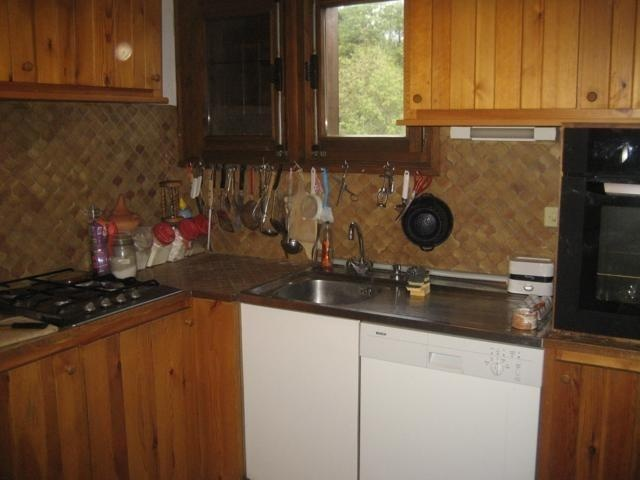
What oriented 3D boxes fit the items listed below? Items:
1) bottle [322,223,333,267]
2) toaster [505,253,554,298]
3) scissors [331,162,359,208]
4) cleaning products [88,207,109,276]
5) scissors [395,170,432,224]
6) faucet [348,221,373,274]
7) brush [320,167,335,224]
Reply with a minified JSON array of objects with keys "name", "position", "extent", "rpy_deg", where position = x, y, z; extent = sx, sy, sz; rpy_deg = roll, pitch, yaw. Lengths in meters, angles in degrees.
[{"name":"bottle","position":[0.039,0.010,3.146],"extent":[0.067,0.277,0.067],"rpy_deg":[1,-2,0]},{"name":"toaster","position":[1.036,0.162,2.672],"extent":[0.225,0.169,0.234],"rpy_deg":[1,12,19]},{"name":"scissors","position":[0.144,-0.321,3.086],"extent":[0.238,0.347,0.039],"rpy_deg":[-1,1,38]},{"name":"cleaning products","position":[-1.191,0.033,2.952],"extent":[0.094,0.286,0.099],"rpy_deg":[-3,12,-18]},{"name":"scissors","position":[0.501,-0.227,2.934],"extent":[0.113,0.306,0.033],"rpy_deg":[33,18,30]},{"name":"faucet","position":[0.217,0.033,2.987],"extent":[0.131,0.292,0.296],"rpy_deg":[1,12,6]},{"name":"brush","position":[0.029,-0.266,3.107],"extent":[0.073,0.280,0.076],"rpy_deg":[-1,1,-6]}]
